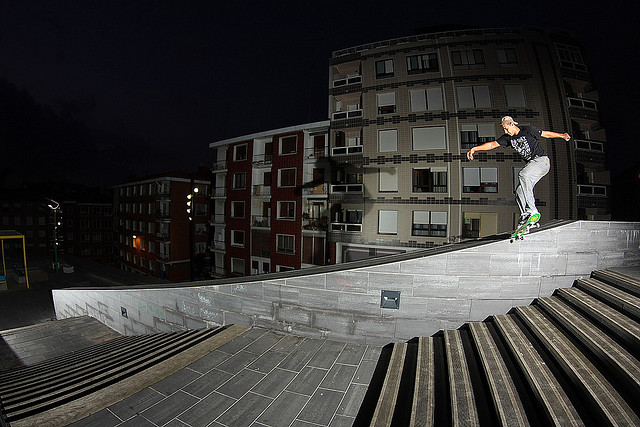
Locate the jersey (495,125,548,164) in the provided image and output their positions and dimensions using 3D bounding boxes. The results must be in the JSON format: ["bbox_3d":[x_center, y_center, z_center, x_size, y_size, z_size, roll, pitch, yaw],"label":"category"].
[{"bbox_3d":[6.644,-2.269,12.461,1.356,1.202,0.456,0,-3,16],"label":"jersey"}]

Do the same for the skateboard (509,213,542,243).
[{"bbox_3d":[7.167,0.507,13.240,0.499,1.063,0.352,41,9,4],"label":"skateboard"}]
